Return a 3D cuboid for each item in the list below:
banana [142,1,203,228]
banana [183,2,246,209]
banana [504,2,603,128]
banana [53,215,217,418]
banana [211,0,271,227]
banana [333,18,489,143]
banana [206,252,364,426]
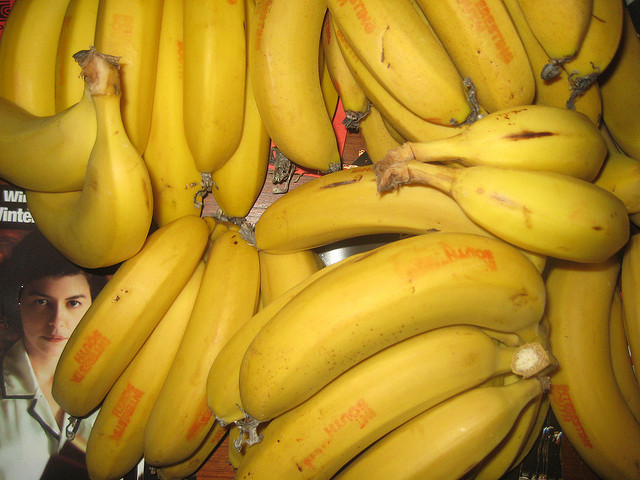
[{"bbox_3d":[-0.387,-0.291,1.568,0.120,0.561,0.169,-6,22,-34],"label":"banana"},{"bbox_3d":[-0.229,-0.315,1.476,0.101,0.464,0.146,-1,16,-1],"label":"banana"},{"bbox_3d":[0.495,-0.388,1.339,0.097,0.287,0.072,-37,4,26],"label":"banana"},{"bbox_3d":[-0.415,0.183,1.442,0.548,0.173,0.164,-52,14,3],"label":"banana"},{"bbox_3d":[-0.198,-0.274,1.564,0.142,0.564,0.175,1,30,-24],"label":"banana"},{"bbox_3d":[0.205,-0.357,1.350,0.073,0.286,0.100,-34,7,35],"label":"banana"},{"bbox_3d":[-0.080,0.223,1.316,0.128,0.119,0.412,30,68,38],"label":"banana"}]
